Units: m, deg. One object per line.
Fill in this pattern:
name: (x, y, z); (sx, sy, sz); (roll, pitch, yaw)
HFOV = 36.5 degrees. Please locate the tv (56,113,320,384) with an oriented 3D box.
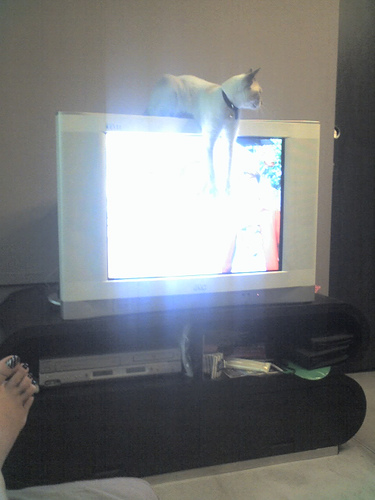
tv: (-0.017, -0.028, 1.529); (0.804, 0.772, 0.138); (-4, 13, -19)

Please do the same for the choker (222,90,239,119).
choker: (0.117, -0.387, 1.525); (0.016, 0.063, 0.047); (-11, 8, 1)

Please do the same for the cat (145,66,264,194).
cat: (0.039, -0.371, 1.615); (0.402, 0.302, 0.142); (21, 17, 38)
